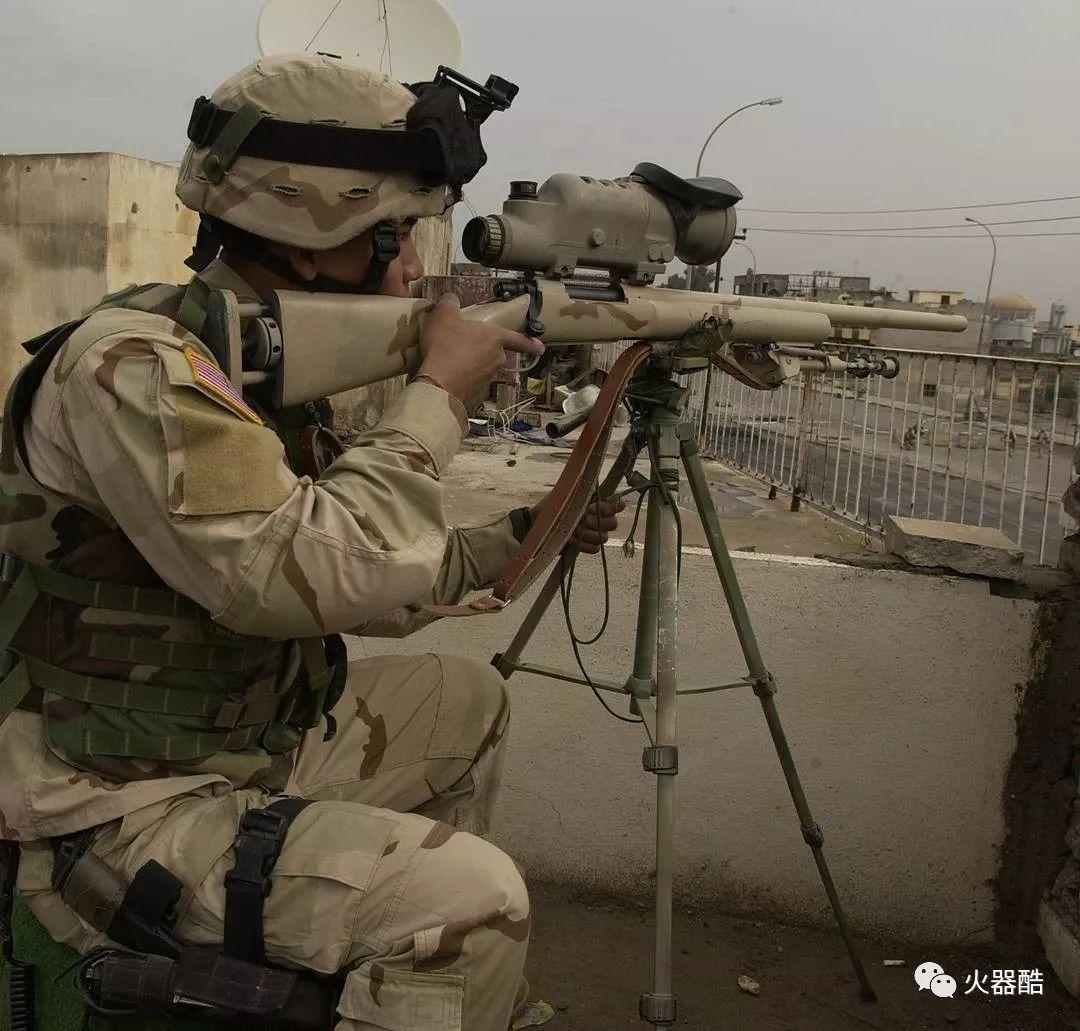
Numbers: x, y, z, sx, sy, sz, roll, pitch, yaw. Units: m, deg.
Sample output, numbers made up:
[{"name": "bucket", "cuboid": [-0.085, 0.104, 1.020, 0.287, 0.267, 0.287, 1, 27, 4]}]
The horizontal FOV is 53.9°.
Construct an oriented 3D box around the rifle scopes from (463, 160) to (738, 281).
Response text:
[{"name": "rifle scopes", "cuboid": [0.170, -0.767, 2.802, 0.799, 0.273, 0.262, -9, 21, -30]}]
